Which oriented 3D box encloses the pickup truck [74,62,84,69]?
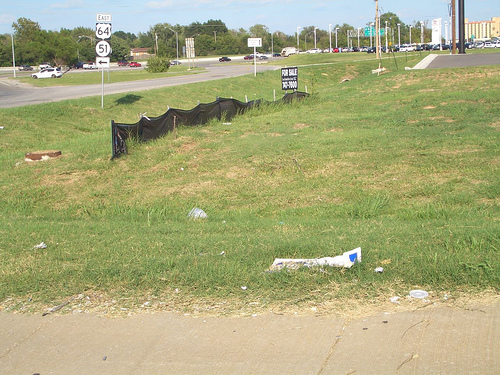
[{"bbox_3d":[-25.746,-18.402,107.318,1.193,0.788,3.886,-7,11,-12],"label":"pickup truck"}]

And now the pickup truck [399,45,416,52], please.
[{"bbox_3d":[23.476,-20.776,105.992,2.372,0.805,6.844,-2,11,13],"label":"pickup truck"}]

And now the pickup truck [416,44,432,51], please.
[{"bbox_3d":[26.120,-21.092,106.777,2.239,0.806,12.608,-2,11,14],"label":"pickup truck"}]

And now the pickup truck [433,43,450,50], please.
[{"bbox_3d":[26.941,-19.873,100.233,2.183,0.690,16.324,-2,11,14],"label":"pickup truck"}]

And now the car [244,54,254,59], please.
[{"bbox_3d":[-0.033,-24.228,131.746,1.279,0.622,2.186,0,18,6],"label":"car"}]

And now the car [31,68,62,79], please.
[{"bbox_3d":[-19.602,-11.071,68.953,2.570,0.932,1.186,-2,11,-17],"label":"car"}]
